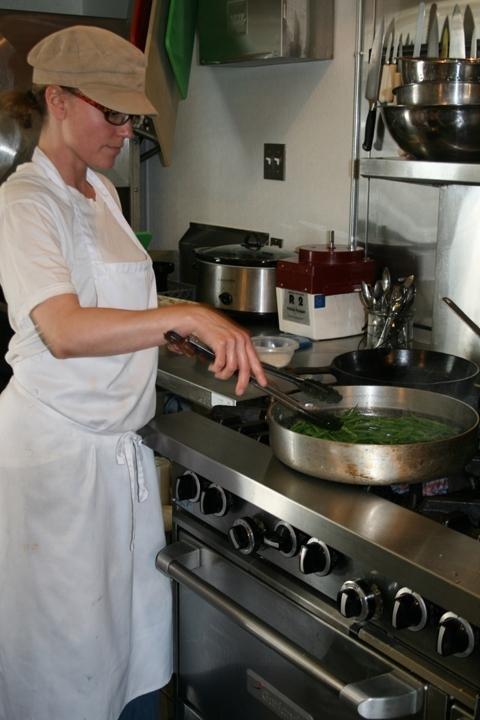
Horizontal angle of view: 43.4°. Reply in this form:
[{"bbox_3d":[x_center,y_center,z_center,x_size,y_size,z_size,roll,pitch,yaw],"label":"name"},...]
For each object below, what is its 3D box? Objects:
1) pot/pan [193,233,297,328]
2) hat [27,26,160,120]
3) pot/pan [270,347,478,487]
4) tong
[{"bbox_3d":[0.001,-0.255,1.908,0.292,0.209,0.312,-3,14,-19],"label":"pot/pan"},{"bbox_3d":[-0.227,-0.445,0.927,0.185,0.136,0.160,-4,14,-18],"label":"hat"},{"bbox_3d":[0.212,0.043,0.881,0.317,0.117,0.309,-8,19,-30],"label":"pot/pan"},{"bbox_3d":[-0.027,0.020,0.862,0.351,0.038,0.102,29,35,24],"label":"tong"}]
